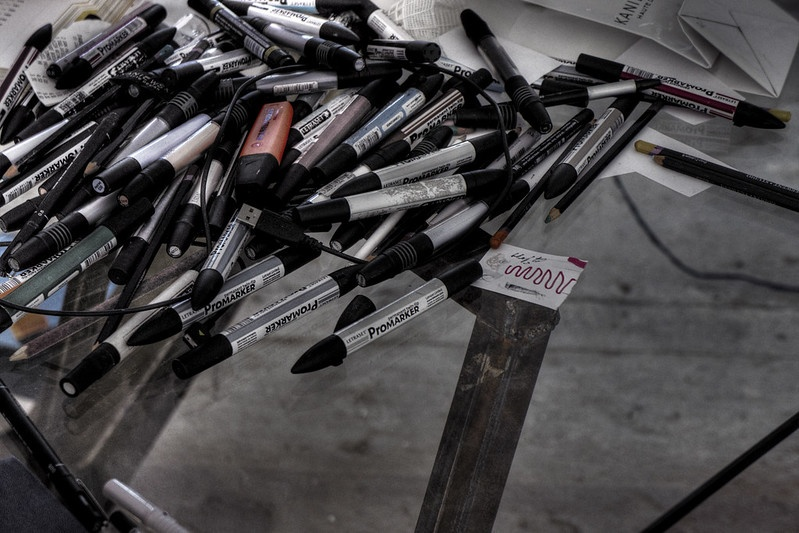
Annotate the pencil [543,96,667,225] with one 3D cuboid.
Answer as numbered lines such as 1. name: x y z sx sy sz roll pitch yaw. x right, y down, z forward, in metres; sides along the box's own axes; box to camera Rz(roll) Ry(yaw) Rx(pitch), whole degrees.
1. pencil: 0.283 -0.139 0.986 0.295 0.024 0.023 -45 4 -34

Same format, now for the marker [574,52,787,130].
1. marker: 0.423 -0.256 1.058 0.278 0.033 0.045 18 47 11
